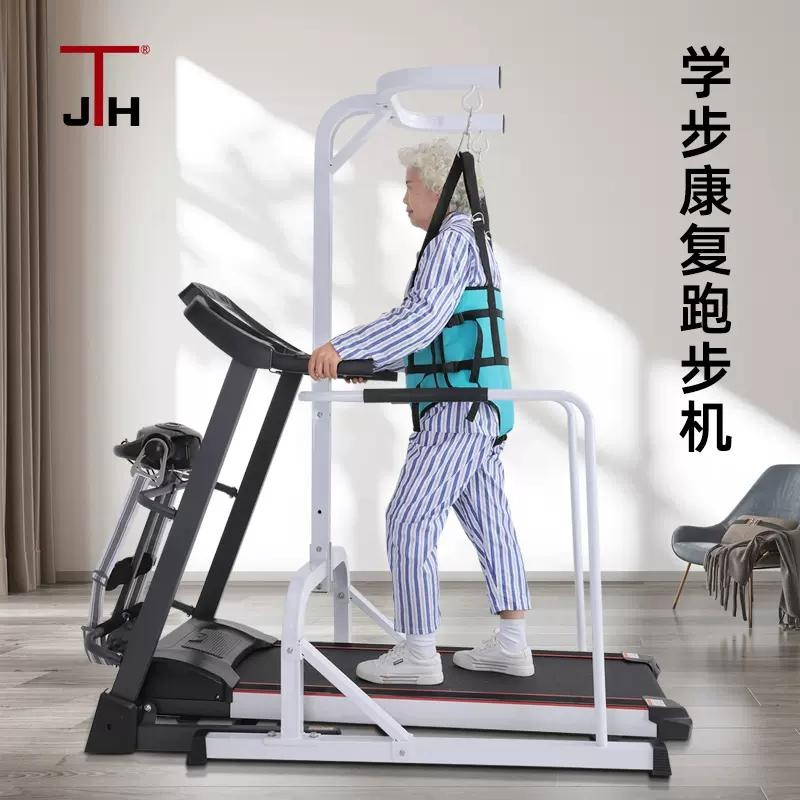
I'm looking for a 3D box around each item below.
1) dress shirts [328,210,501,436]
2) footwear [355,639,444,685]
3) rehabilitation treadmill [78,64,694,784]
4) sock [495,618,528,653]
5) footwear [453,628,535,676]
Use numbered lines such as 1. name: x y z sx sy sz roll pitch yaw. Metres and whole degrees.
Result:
1. dress shirts: 0.003 -0.255 3.535 0.467 0.576 0.860 -5 -12 2
2. footwear: 0.014 0.786 3.497 0.283 0.131 0.114 2 -7 6
3. rehabilitation treadmill: -0.038 0.387 4.464 2.430 2.655 1.298 1 -2 5
4. sock: 0.362 0.725 3.548 0.112 0.112 0.072 5 -7 -42
5. footwear: 0.322 0.781 3.590 0.300 0.137 0.102 3 -6 16
